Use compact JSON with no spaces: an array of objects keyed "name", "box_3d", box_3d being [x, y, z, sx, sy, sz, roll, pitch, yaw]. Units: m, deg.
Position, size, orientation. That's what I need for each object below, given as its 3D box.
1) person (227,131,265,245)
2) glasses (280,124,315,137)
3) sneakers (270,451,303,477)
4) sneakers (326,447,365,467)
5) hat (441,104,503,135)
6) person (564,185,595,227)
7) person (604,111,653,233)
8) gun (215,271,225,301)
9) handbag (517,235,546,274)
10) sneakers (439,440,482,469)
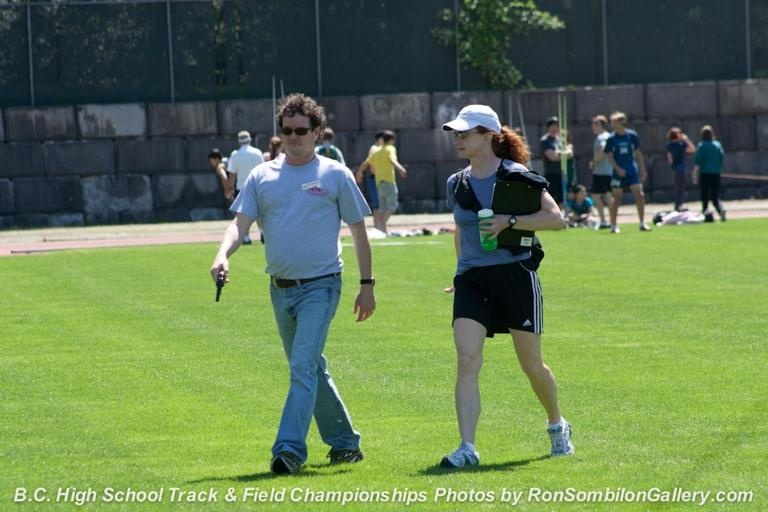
[{"name":"person","box_3d":[-2.852,-1.471,28.210,0.939,2.335,0.717,-7,15,-16]},{"name":"glasses","box_3d":[-1.075,-1.553,16.743,0.405,0.117,0.135,-3,3,-3]},{"name":"sneakers","box_3d":[-1.190,2.554,16.342,0.207,0.180,0.388,-4,-39,2]},{"name":"sneakers","box_3d":[-0.476,2.515,16.658,0.462,0.233,0.170,1,0,-8]},{"name":"hat","box_3d":[1.115,-1.729,16.711,0.577,0.292,0.388,2,-2,-16]},{"name":"person","box_3d":[4.410,-1.068,30.425,0.817,1.011,0.967,-3,8,-10]},{"name":"person","box_3d":[5.136,-1.763,28.317,0.879,2.555,1.222,-3,3,11]},{"name":"gun","box_3d":[-2.012,0.369,16.633,0.124,0.378,0.405,-3,3,-7]},{"name":"handbag","box_3d":[1.891,-0.004,16.760,0.143,0.399,0.277,12,-9,-42]},{"name":"sneakers","box_3d":[0.958,2.474,16.393,0.576,0.278,0.211,2,-4,-27]}]
